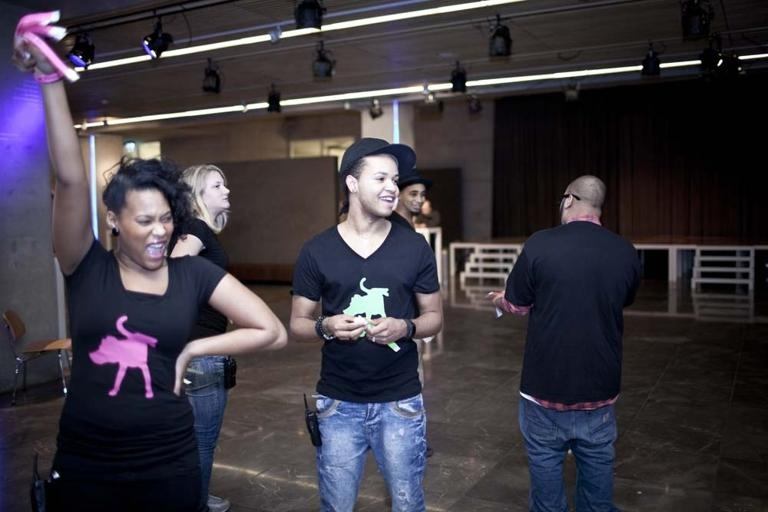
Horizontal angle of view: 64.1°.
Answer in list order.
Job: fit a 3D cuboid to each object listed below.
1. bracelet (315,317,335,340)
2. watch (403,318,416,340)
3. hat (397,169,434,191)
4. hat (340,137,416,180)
[{"bbox_3d":[-0.288,0.376,3.131,0.102,0.115,0.045,12,33,27],"label":"bracelet"},{"bbox_3d":[0.142,0.370,3.099,0.040,0.101,0.095,2,5,35],"label":"watch"},{"bbox_3d":[0.303,-0.592,4.857,0.344,0.125,0.298,-1,1,13],"label":"hat"},{"bbox_3d":[-0.030,-0.528,3.202,0.325,0.159,0.241,-25,-21,23],"label":"hat"}]
